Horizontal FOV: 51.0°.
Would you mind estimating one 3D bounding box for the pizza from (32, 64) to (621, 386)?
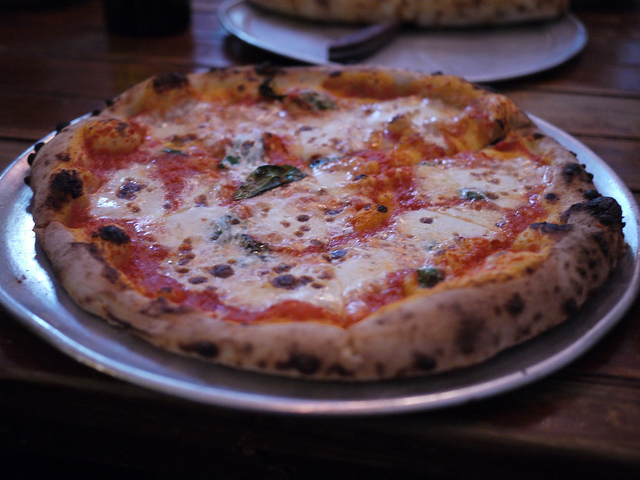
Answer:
[{"bbox_3d":[0.004,-0.097,1.275,1.027,0.101,0.902,-19,49,-17],"label":"pizza"}]
